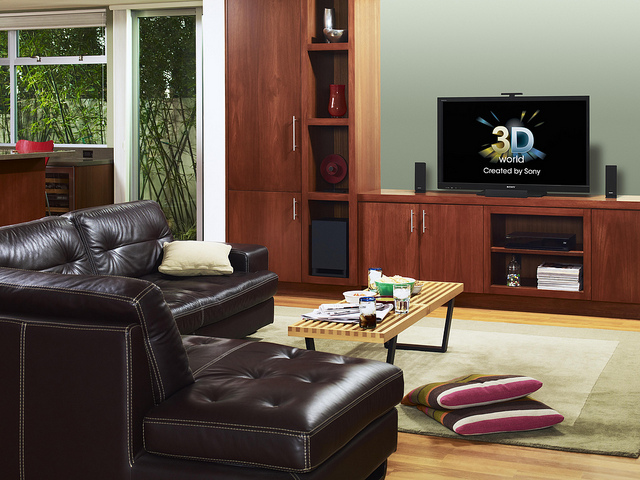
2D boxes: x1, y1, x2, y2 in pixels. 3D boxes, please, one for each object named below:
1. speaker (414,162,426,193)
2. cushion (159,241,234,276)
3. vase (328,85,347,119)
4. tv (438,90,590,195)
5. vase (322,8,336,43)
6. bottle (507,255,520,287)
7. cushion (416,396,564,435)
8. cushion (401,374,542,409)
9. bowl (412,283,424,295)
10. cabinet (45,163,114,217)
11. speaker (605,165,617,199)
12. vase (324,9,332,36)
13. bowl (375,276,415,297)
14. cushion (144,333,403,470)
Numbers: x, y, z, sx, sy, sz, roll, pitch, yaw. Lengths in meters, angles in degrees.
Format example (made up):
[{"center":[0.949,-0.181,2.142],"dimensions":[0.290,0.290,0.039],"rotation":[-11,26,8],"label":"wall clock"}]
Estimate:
[{"center":[1.038,-0.628,5.347],"dimensions":[0.130,0.275,0.139],"rotation":[-7,7,-44],"label":"speaker"},{"center":[-0.903,0.133,3.941],"dimensions":[0.396,0.094,0.330],"rotation":[1,14,0],"label":"cushion"},{"center":[0.205,-1.390,5.368],"dimensions":[0.194,0.329,0.135],"rotation":[-6,10,-33],"label":"vase"},{"center":[1.850,-0.908,4.966],"dimensions":[1.381,0.708,0.061],"rotation":[2,3,18],"label":"tv"},{"center":[0.093,-2.160,5.367],"dimensions":[0.119,0.378,0.200],"rotation":[0,9,-1],"label":"vase"},{"center":[1.819,0.283,5.013],"dimensions":[0.112,0.253,0.359],"rotation":[3,8,19],"label":"bottle"},{"center":[0.872,0.871,2.712],"dimensions":[0.633,0.122,0.285],"rotation":[0,7,-3],"label":"cushion"},{"center":[0.824,0.805,2.865],"dimensions":[0.653,0.118,0.661],"rotation":[-18,-15,41],"label":"cushion"},{"center":[0.668,0.329,3.616],"dimensions":[0.066,0.032,0.064],"rotation":[-2,10,0],"label":"bowl"},{"center":[-3.368,-0.865,7.408],"dimensions":[0.875,0.692,0.583],"rotation":[26,31,27],"label":"cabinet"},{"center":[2.578,-0.515,4.728],"dimensions":[0.093,0.290,0.166],"rotation":[3,9,20],"label":"speaker"},{"center":[0.090,-2.157,5.290],"dimensions":[0.073,0.265,0.105],"rotation":[-1,9,-2],"label":"vase"},{"center":[0.470,0.295,3.375],"dimensions":[0.194,0.063,0.164],"rotation":[0,1,1],"label":"bowl"},{"center":[-0.227,0.583,1.988],"dimensions":[0.831,0.187,0.775],"rotation":[3,8,23],"label":"cushion"}]
